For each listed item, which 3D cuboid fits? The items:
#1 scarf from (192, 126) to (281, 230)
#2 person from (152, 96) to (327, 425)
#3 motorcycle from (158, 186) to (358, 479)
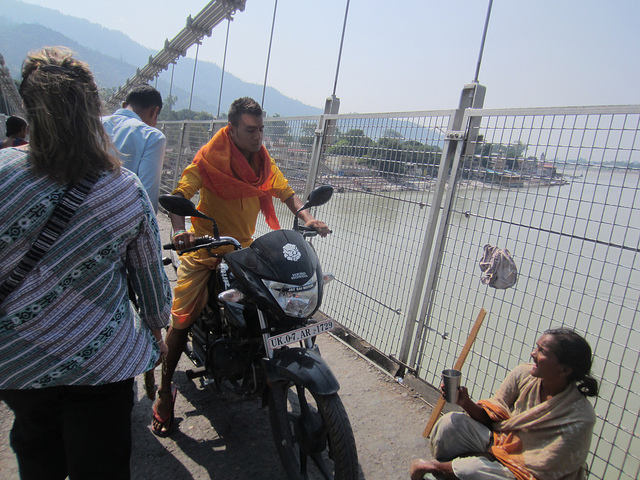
[{"bbox_3d":[-0.686,-0.474,3.661,0.636,0.860,0.458,-5,23,-28],"label":"scarf"},{"bbox_3d":[-0.873,0.140,4.054,1.373,3.057,0.936,-11,32,-33],"label":"person"},{"bbox_3d":[-0.424,0.520,3.466,0.979,1.598,2.453,2,14,-31],"label":"motorcycle"}]
